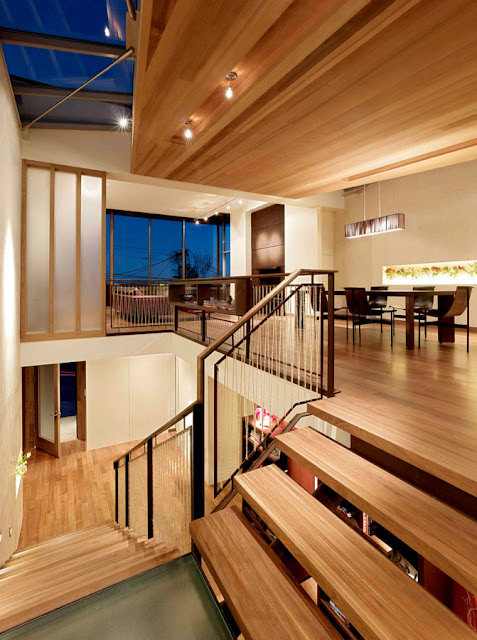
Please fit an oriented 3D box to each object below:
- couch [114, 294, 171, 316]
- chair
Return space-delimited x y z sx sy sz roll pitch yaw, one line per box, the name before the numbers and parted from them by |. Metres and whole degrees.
couch | -1.682 -0.243 7.948 1.045 0.412 0.257 -5 7 -30
chair | 2.383 -0.092 5.500 1.194 0.700 2.342 4 8 41
